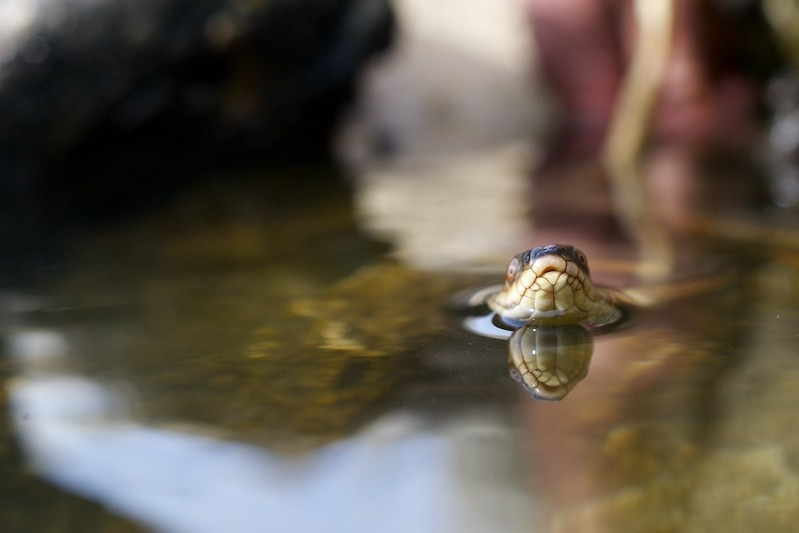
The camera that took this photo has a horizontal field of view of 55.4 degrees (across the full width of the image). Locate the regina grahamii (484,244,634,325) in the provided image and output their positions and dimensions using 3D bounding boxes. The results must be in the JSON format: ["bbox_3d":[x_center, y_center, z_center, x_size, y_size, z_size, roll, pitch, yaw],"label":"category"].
[{"bbox_3d":[0.371,0.051,1.892,0.310,0.394,0.153,-6,84,12],"label":"regina grahamii"}]
